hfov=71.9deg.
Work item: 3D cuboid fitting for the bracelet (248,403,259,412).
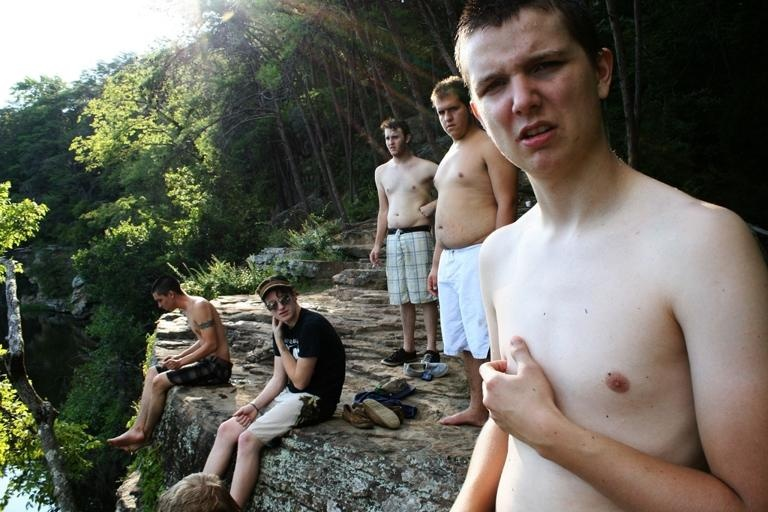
[{"bbox_3d":[-1.024,1.188,4.155,0.016,0.064,0.050,-39,-27,-21],"label":"bracelet"}]

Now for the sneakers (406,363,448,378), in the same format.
[{"bbox_3d":[0.397,1.093,5.121,0.324,0.119,0.170,-3,8,-4],"label":"sneakers"}]

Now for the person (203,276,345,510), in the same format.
[{"bbox_3d":[-0.809,0.973,4.138,1.157,1.504,0.674,-5,-2,-24],"label":"person"}]

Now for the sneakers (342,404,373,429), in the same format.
[{"bbox_3d":[-0.212,1.230,4.040,0.100,0.095,0.280,-7,-2,-29],"label":"sneakers"}]

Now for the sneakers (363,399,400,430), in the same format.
[{"bbox_3d":[-0.014,1.178,3.969,0.132,0.082,0.269,-9,31,-44],"label":"sneakers"}]

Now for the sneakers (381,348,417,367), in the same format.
[{"bbox_3d":[0.155,1.071,5.575,0.376,0.169,0.154,0,-2,-1],"label":"sneakers"}]

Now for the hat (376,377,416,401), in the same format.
[{"bbox_3d":[0.117,1.137,4.542,0.241,0.084,0.175,2,23,-14],"label":"hat"}]

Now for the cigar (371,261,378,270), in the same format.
[{"bbox_3d":[-0.157,0.157,8.573,0.096,0.078,0.152,2,-21,-16],"label":"cigar"}]
